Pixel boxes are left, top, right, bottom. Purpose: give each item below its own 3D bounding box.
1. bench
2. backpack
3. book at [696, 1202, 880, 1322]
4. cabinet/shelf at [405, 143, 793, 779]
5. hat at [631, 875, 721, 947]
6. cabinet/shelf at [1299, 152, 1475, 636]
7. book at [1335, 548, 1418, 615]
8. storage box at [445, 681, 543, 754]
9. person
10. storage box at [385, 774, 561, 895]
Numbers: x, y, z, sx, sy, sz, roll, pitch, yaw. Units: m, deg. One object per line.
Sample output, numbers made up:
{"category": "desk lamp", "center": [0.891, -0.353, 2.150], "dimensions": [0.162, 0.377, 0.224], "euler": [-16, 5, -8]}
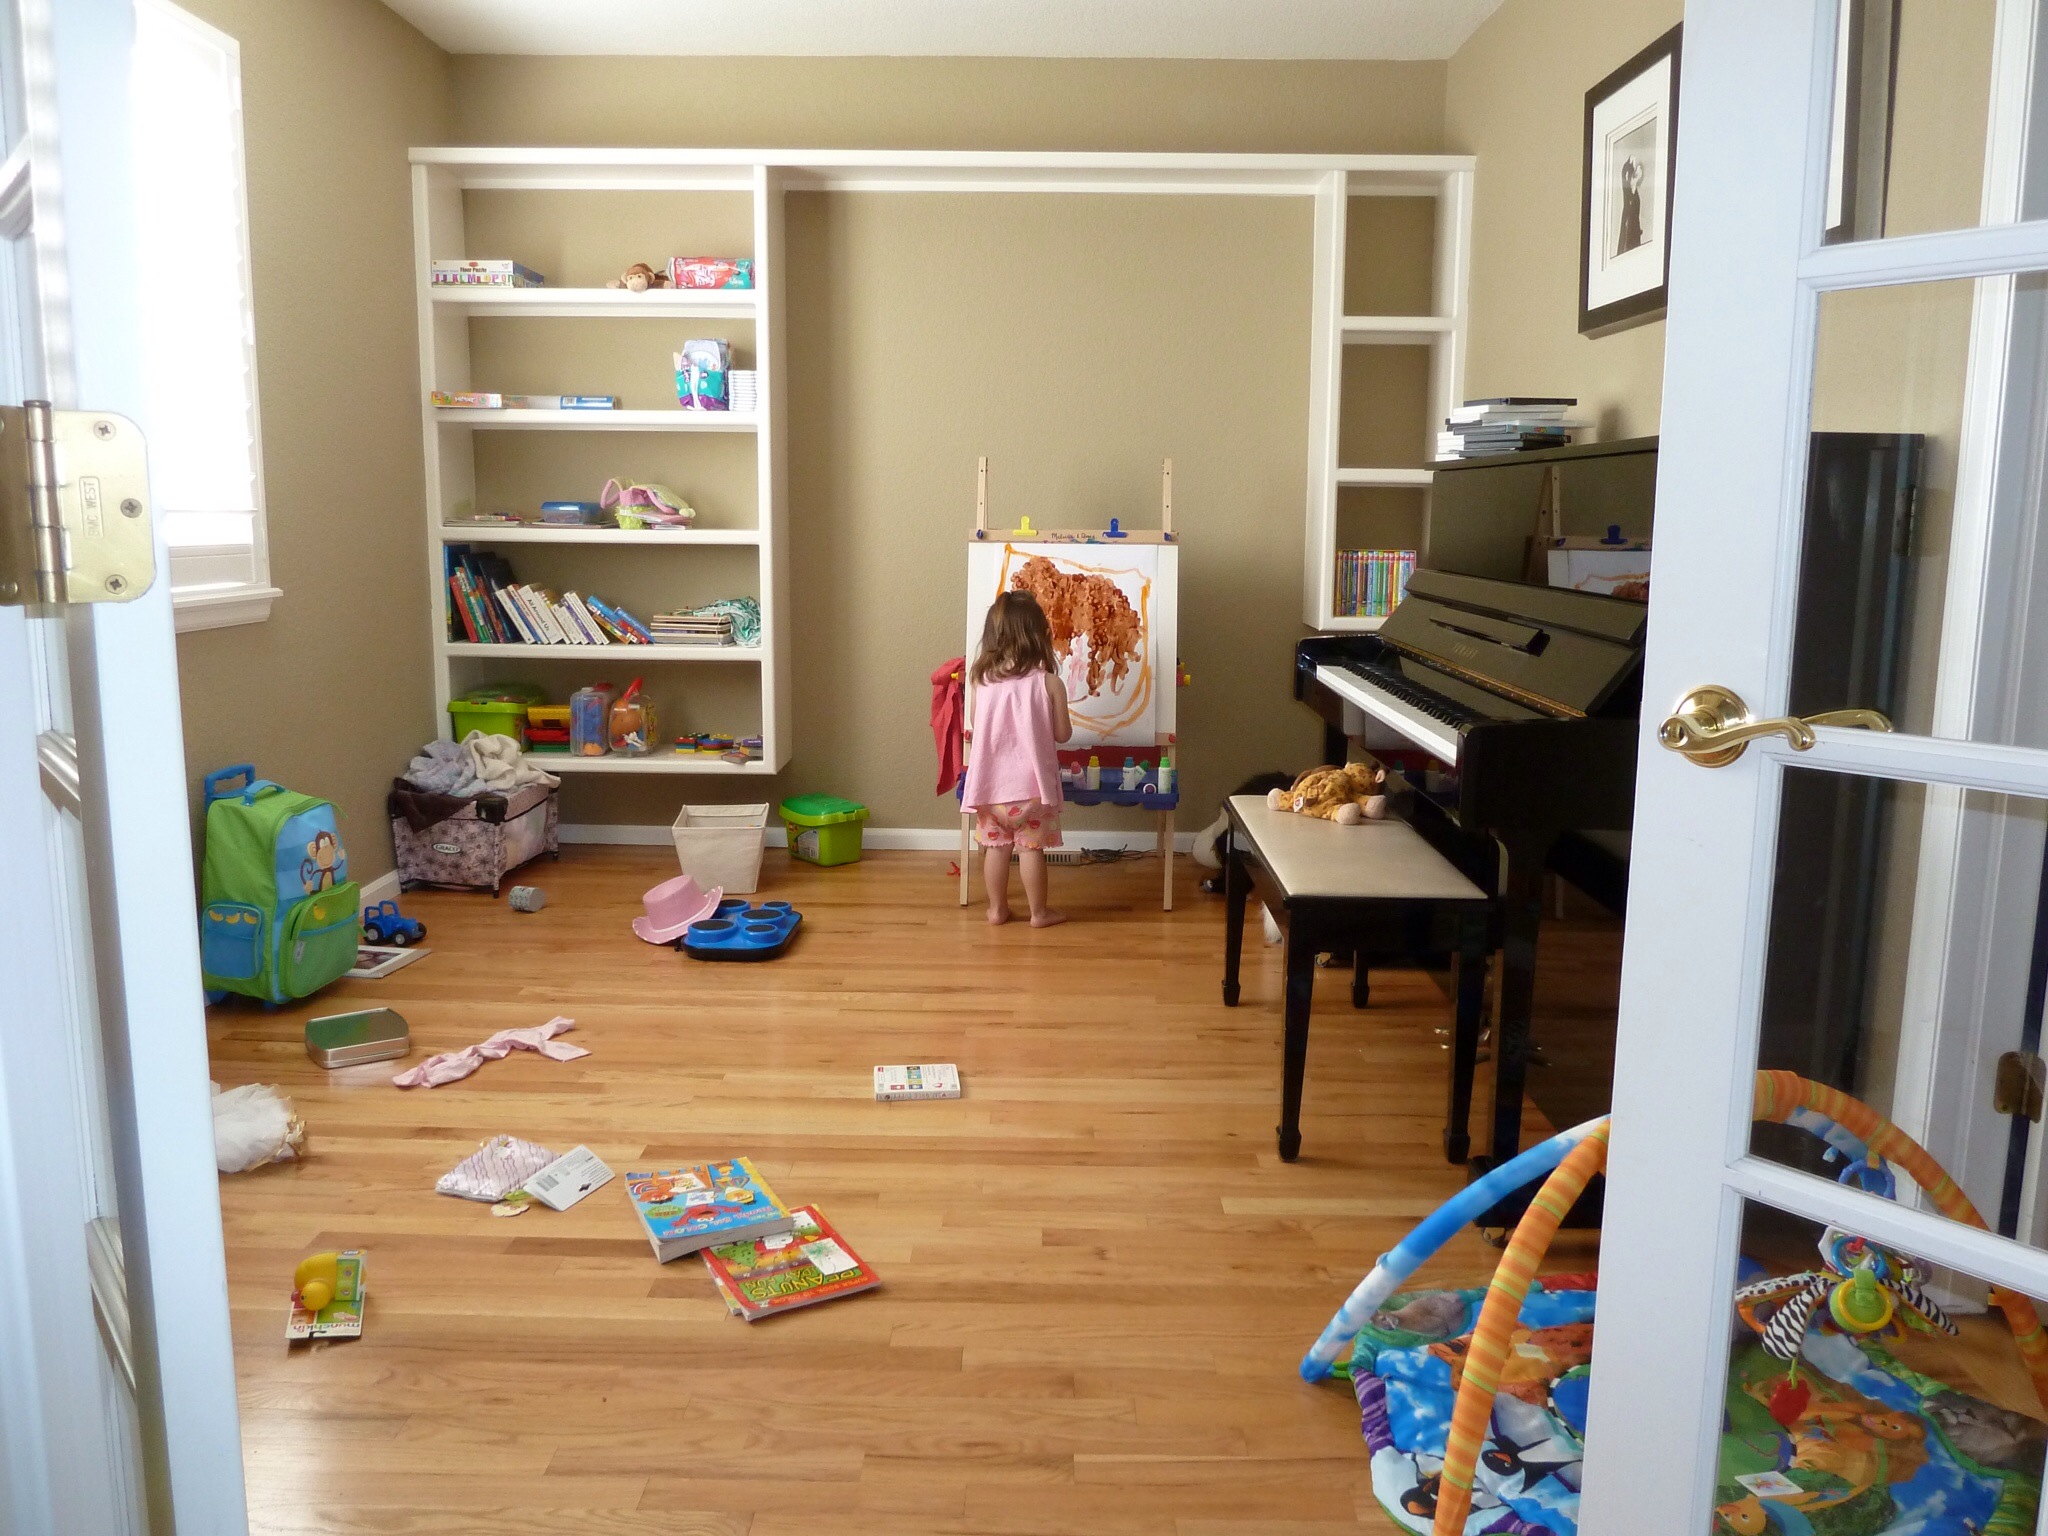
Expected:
{"category": "bench", "center": [0.707, 0.444, 3.376], "dimensions": [0.252, 0.354, 0.651], "euler": [1, 13, -1]}
{"category": "backpack", "center": [-1.840, 0.278, 3.924], "dimensions": [0.289, 0.542, 0.374], "euler": [8, 11, 11]}
{"category": "book", "center": [-0.411, 0.839, 2.713], "dimensions": [0.250, 0.023, 0.311], "euler": [-7, 15, -29]}
{"category": "cabinet/shelf", "center": [-1.340, -0.943, 5.164], "dimensions": [1.107, 2.004, 0.495], "euler": [1, 13, 3]}
{"category": "hat", "center": [-0.973, 0.390, 4.452], "dimensions": [0.238, 0.142, 0.231], "euler": [-3, 14, -14]}
{"category": "cabinet/shelf", "center": [1.214, -1.464, 5.252], "dimensions": [0.382, 0.294, 1.138], "euler": [5, 58, 10]}
{"category": "book", "center": [1.145, -0.575, 5.183], "dimensions": [0.280, 0.286, 0.212], "euler": [0, 2, 15]}
{"category": "storage box", "center": [-1.740, -0.172, 5.245], "dimensions": [0.235, 0.177, 0.297], "euler": [3, 13, 10]}
{"category": "person", "center": [-0.041, -0.031, 4.604], "dimensions": [0.317, 0.939, 0.291], "euler": [3, 13, 10]}
{"category": "storage box", "center": [-1.765, 0.188, 5.013], "dimensions": [0.387, 0.336, 0.536], "euler": [1, 9, -1]}
